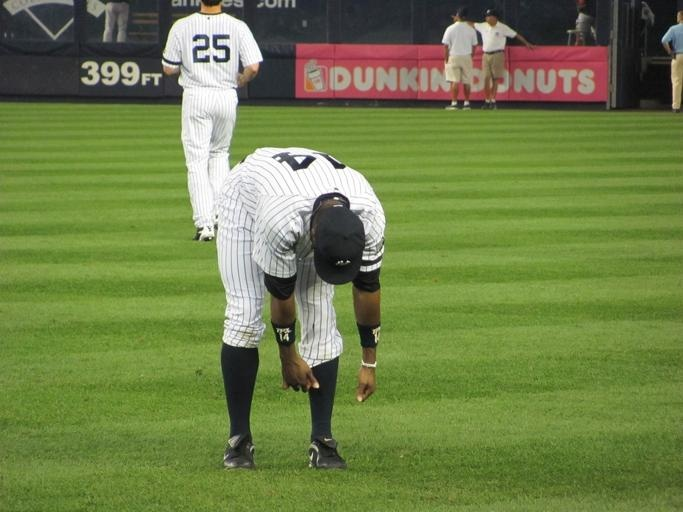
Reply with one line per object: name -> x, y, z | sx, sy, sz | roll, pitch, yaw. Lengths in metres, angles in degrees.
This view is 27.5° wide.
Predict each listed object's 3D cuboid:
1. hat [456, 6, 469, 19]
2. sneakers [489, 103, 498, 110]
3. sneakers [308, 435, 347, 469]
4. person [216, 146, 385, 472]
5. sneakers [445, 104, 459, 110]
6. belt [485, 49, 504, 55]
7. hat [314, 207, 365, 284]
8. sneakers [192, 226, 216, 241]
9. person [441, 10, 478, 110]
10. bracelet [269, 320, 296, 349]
hat -> 2.090, -4.144, 23.913 | 0.237, 0.208, 0.360 | 1, 28, -2
sneakers -> 2.695, -2.654, 24.869 | 0.093, 0.112, 0.261 | 26, 9, 15
sneakers -> -0.110, 1.577, 11.130 | 0.172, 0.157, 0.335 | 1, -3, -33
person -> -0.344, 0.441, 10.987 | 1.309, 2.511, 0.746 | 1, 10, -1
sneakers -> 1.911, -2.616, 24.772 | 0.322, 0.130, 0.120 | 3, 6, 19
belt -> 2.661, -3.552, 24.351 | 0.331, 0.126, 0.192 | 1, 10, -4
hat -> -0.017, -0.083, 10.619 | 0.392, 0.583, 0.189 | 2, 10, 0
sneakers -> -1.405, -0.232, 14.541 | 0.277, 0.198, 0.096 | 11, 16, 35
person -> 2.065, -3.428, 24.475 | 0.571, 1.780, 1.398 | 2, 10, 4
bracelet -> -0.468, 0.621, 10.983 | 0.191, 0.171, 0.177 | -1, 5, -5
